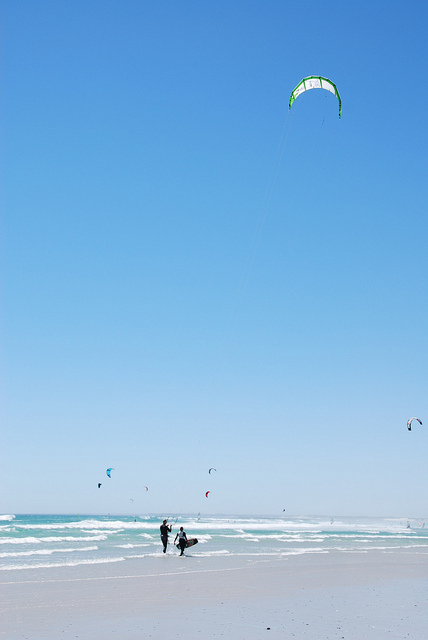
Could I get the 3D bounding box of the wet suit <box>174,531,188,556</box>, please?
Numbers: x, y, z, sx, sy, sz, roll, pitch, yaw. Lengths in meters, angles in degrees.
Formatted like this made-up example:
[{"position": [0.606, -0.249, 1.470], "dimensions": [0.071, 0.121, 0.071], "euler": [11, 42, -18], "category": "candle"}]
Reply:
[{"position": [-0.958, 6.526, 24.253], "dimensions": [0.344, 0.667, 0.959], "euler": [2, -13, -4], "category": "wet suit"}]
